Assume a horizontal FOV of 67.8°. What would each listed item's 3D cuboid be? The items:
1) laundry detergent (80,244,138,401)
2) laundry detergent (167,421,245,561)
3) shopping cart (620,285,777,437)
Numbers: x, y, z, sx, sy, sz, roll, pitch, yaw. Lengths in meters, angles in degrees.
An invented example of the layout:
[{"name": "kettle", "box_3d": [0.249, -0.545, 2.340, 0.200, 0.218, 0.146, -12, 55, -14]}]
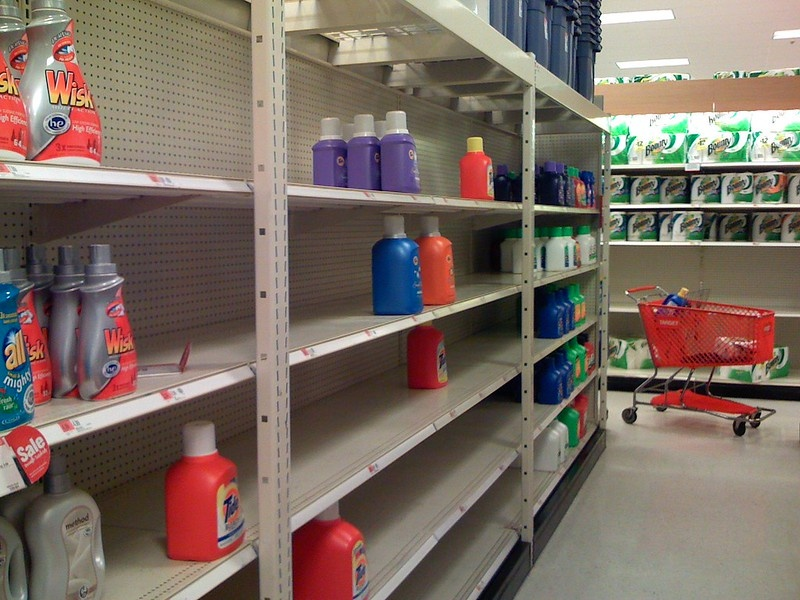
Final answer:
[{"name": "laundry detergent", "box_3d": [-0.552, 0.038, 1.108, 0.117, 0.276, 0.110, 3, 9, 29]}, {"name": "laundry detergent", "box_3d": [-0.431, 0.415, 1.297, 0.170, 0.279, 0.118, -3, 8, -15]}, {"name": "shopping cart", "box_3d": [2.456, 0.438, 4.919, 0.996, 1.145, 1.209, 3, 9, 29]}]
